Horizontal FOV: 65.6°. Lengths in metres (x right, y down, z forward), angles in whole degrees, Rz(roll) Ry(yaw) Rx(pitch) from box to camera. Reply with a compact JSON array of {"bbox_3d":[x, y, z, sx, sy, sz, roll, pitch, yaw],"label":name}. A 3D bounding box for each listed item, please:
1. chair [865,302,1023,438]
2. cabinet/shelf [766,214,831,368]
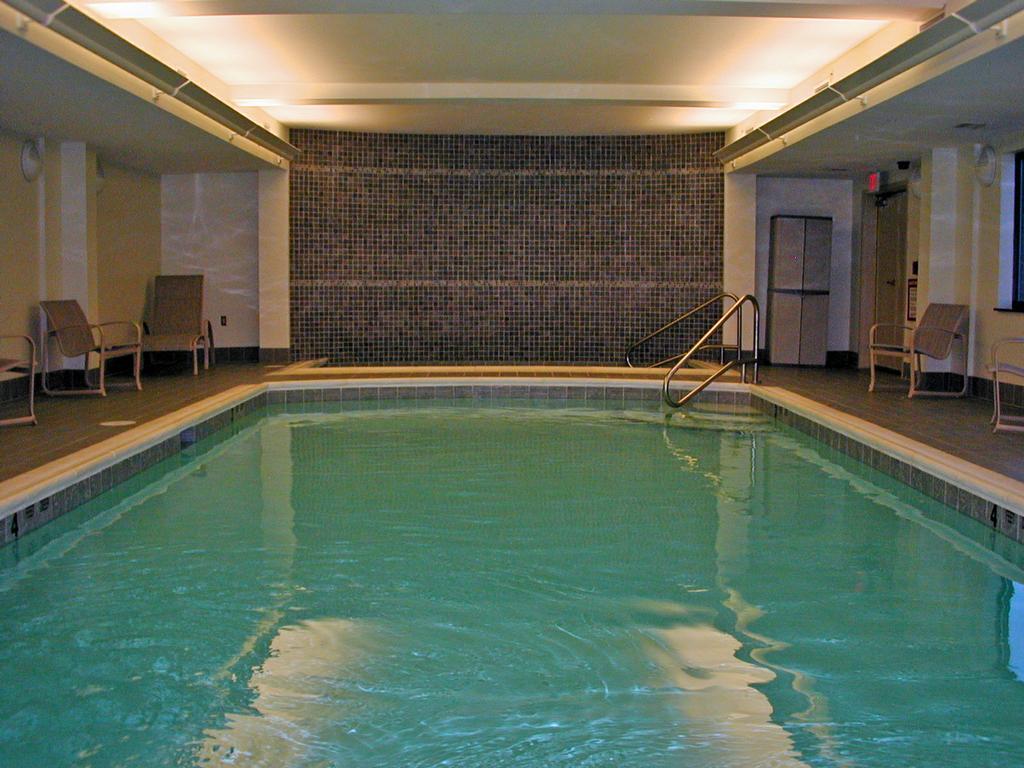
[{"bbox_3d":[4.560,-0.139,8.288,0.702,0.709,1.686,-1,3,-7],"label":"chair"},{"bbox_3d":[4.444,-1.447,12.317,0.915,2.278,0.519,3,12,14],"label":"cabinet/shelf"}]
